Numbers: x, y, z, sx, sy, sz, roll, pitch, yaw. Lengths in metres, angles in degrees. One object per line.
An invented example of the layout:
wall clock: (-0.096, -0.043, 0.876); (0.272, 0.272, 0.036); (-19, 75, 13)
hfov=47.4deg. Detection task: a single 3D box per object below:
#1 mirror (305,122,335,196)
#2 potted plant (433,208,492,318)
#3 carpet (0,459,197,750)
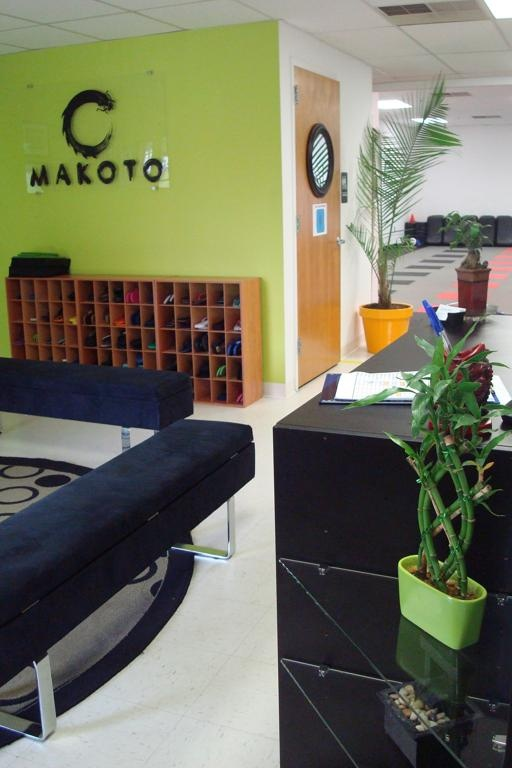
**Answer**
mirror: (0.556, -2.011, 5.188); (0.051, 0.628, 0.664); (0, 17, 22)
potted plant: (1.181, -0.678, 3.309); (0.269, 0.585, 0.487); (5, 13, 21)
carpet: (-0.715, 0.819, 2.206); (0.772, 0.184, 0.791); (14, 26, 32)
